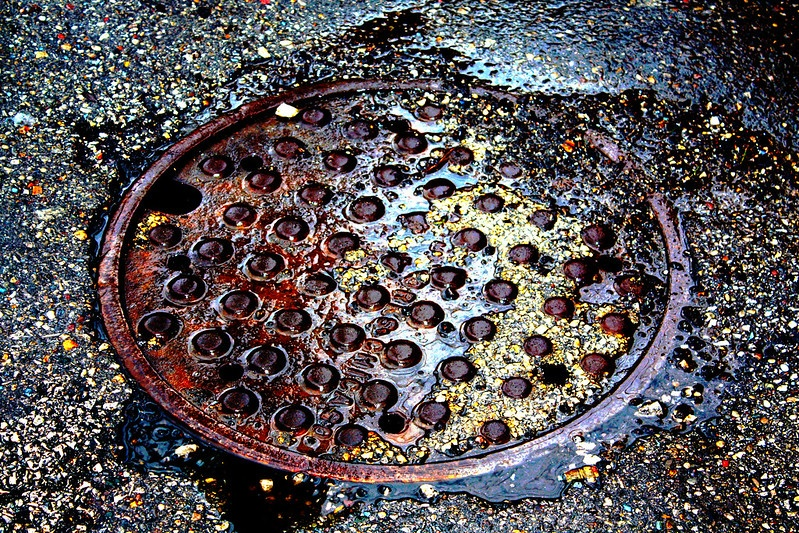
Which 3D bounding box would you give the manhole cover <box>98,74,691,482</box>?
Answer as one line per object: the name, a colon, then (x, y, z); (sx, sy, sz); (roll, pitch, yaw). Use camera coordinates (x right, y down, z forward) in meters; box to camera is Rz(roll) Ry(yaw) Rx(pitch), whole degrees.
manhole cover: (-0.050, 0.083, 5.628); (3.128, 0.777, 2.155); (7, 86, 0)
